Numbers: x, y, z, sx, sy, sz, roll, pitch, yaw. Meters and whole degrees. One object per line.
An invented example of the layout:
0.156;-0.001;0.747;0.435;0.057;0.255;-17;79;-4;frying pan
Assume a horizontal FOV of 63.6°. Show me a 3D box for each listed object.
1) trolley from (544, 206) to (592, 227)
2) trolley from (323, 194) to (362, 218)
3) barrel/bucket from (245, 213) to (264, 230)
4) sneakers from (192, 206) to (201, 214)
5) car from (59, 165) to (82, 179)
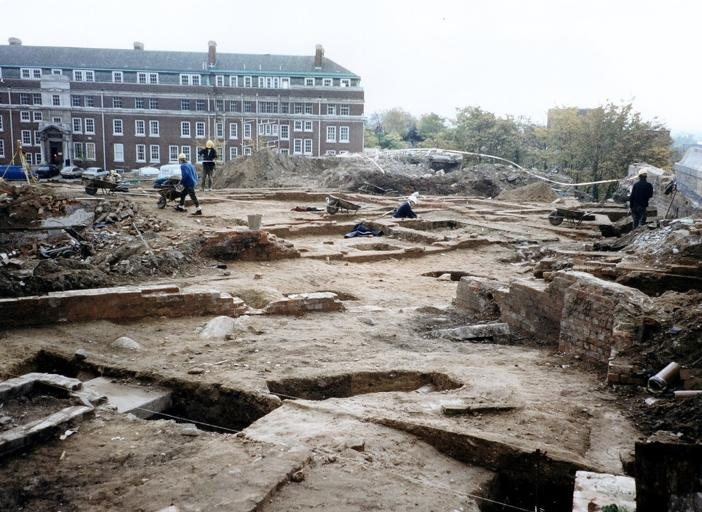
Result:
8.182;-1.505;21.251;1.434;0.456;0.718;2;-2;18;trolley
-0.217;-1.927;21.505;1.510;0.582;1.042;0;-1;-12;trolley
-2.494;-0.884;15.029;0.582;0.390;0.571;1;-1;0;barrel/bucket
-4.759;-1.414;17.741;0.249;0.259;0.414;0;7;-15;sneakers
-19.704;-5.920;40.244;1.154;0.693;2.283;-6;21;-25;car
